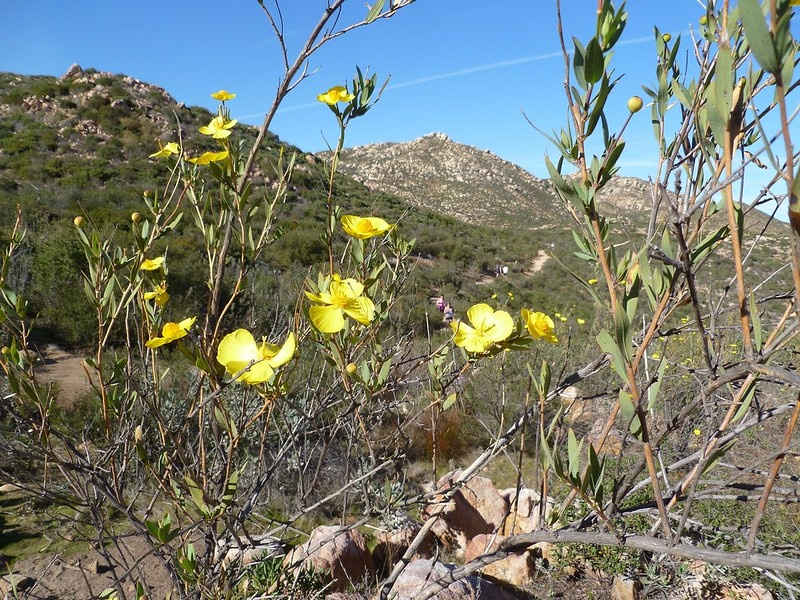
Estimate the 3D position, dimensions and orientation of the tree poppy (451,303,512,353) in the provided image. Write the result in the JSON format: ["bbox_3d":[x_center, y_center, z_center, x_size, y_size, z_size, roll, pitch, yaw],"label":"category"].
[{"bbox_3d":[0.332,0.118,2.467,0.245,0.198,0.223,5,6,5],"label":"tree poppy"}]

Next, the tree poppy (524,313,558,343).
[{"bbox_3d":[0.562,0.108,2.434,0.113,0.135,0.277,6,7,20],"label":"tree poppy"}]

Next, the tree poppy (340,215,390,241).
[{"bbox_3d":[-0.127,-0.286,2.466,0.243,0.094,0.182,-1,9,-42],"label":"tree poppy"}]
